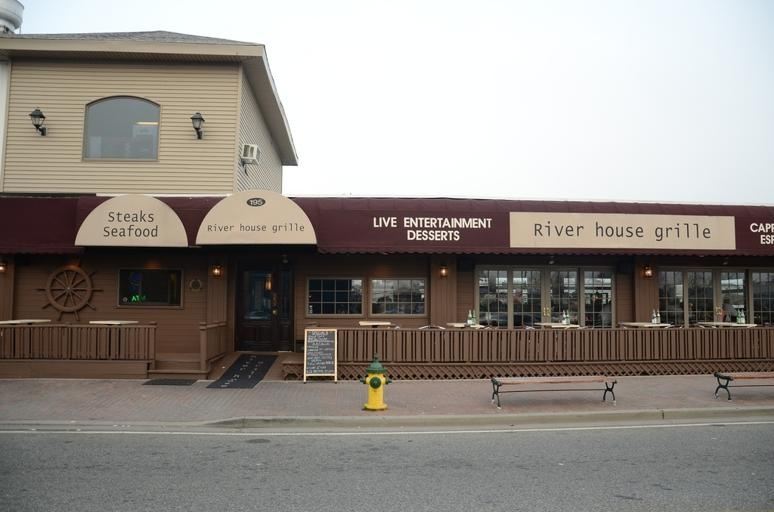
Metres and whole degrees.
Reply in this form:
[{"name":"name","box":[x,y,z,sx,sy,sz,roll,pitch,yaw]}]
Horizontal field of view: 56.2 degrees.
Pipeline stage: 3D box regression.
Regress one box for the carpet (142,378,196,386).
[{"name":"carpet","box":[-6.160,3.557,20.732,1.330,0.174,0.975,0,-6,-9]}]

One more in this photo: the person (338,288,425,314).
[{"name":"person","box":[0.432,1.456,23.564,1.691,0.851,0.239,-2,-6,8]}]

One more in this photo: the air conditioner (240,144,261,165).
[{"name":"air conditioner","box":[-4.625,-3.458,24.561,0.540,0.671,0.781,-1,-6,-5]}]

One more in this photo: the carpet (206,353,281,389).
[{"name":"carpet","box":[-4.177,3.345,21.455,1.507,0.824,3.042,-1,-6,1]}]

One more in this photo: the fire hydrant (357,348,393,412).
[{"name":"fire hydrant","box":[-0.271,3.173,18.200,0.667,1.360,0.673,0,-1,-26]}]

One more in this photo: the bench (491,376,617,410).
[{"name":"bench","box":[4.384,3.496,19.428,3.588,0.709,2.905,0,-6,-7]}]
